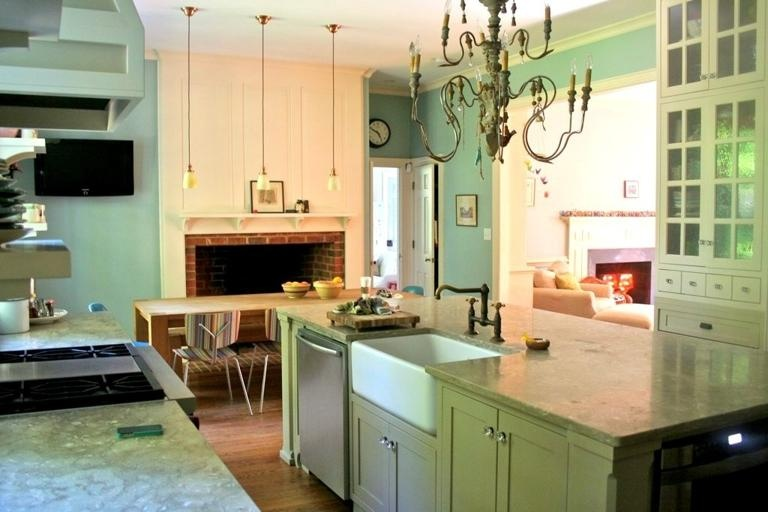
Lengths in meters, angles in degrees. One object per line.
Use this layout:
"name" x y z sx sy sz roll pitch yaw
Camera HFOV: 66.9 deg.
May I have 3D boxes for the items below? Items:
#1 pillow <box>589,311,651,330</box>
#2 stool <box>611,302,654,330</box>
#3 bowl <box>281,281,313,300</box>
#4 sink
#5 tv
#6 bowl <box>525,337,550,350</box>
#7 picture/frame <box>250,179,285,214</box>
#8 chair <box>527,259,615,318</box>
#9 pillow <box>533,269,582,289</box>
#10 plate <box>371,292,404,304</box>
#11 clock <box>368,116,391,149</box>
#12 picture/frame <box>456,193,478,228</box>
"pillow" 2.913 0.753 7.080 0.648 0.153 0.294 2 5 41
"stool" 3.030 0.710 7.101 0.529 0.239 0.540 0 0 16
"bowl" -0.876 0.341 5.989 0.212 0.113 0.208 1 0 0
"sink" 0.183 0.598 3.207 0.475 0.271 0.662 0 2 -29
"tv" -3.422 -1.010 6.630 0.990 0.656 0.256 -4 5 -30
"bowl" 0.796 0.440 2.985 0.109 0.060 0.131 1 5 38
"picture/frame" -1.468 -0.736 7.182 0.488 0.398 0.051 0 -2 -33
"chair" 2.496 0.471 7.749 0.767 0.893 0.987 0 2 35
"pillow" 2.272 0.300 7.827 0.396 0.109 0.358 3 15 7
"plate" 0.021 0.304 3.835 0.144 0.068 0.194 2 4 24
"clock" -0.083 -1.811 8.611 0.420 0.390 0.094 -1 7 -38
"picture/frame" 1.112 -0.621 7.778 0.042 0.487 0.509 1 1 -24
